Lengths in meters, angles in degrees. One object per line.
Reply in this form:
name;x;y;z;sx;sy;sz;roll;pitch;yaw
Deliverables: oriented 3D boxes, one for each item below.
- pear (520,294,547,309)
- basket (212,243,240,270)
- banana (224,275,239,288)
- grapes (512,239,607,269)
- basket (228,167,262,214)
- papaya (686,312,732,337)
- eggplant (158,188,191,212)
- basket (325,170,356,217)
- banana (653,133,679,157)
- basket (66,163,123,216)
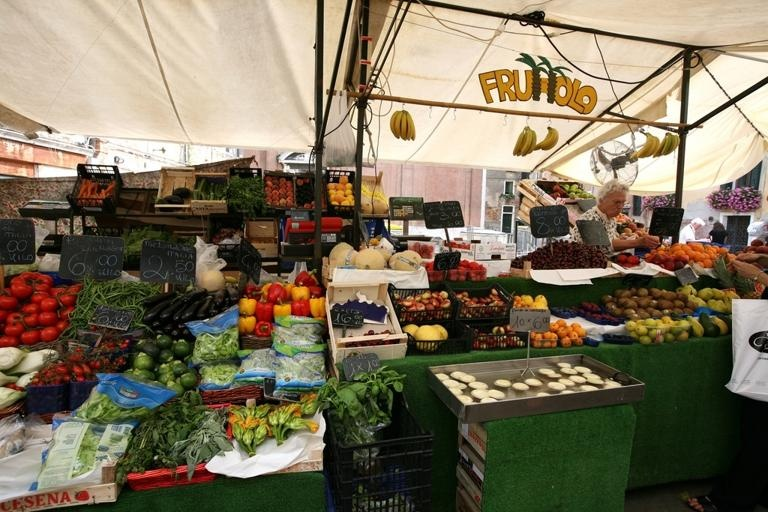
pear;1.615;0.496;5.641;0.223;0.075;0.213;-1;3;-11
basket;-2.238;-0.009;7.265;0.504;0.345;0.439;3;3;31
banana;-1.701;0.289;5.737;0.165;0.076;0.205;5;11;-18
grapes;2.136;-0.011;6.065;0.985;0.313;0.287;-2;3;-9
basket;-2.196;-1.042;8.216;0.591;0.729;0.256;1;-17;-4
papaya;3.553;0.768;5.698;0.471;0.228;0.179;17;0;-10
eggplant;-3.465;-0.943;8.548;0.506;0.128;0.455;-3;41;-2
basket;-0.671;-0.939;7.819;0.506;0.267;0.828;1;32;-8
banana;3.864;-1.540;6.984;0.173;0.193;0.545;37;48;19
basket;-4.657;-1.137;8.443;0.939;0.862;0.545;-3;-32;-11
